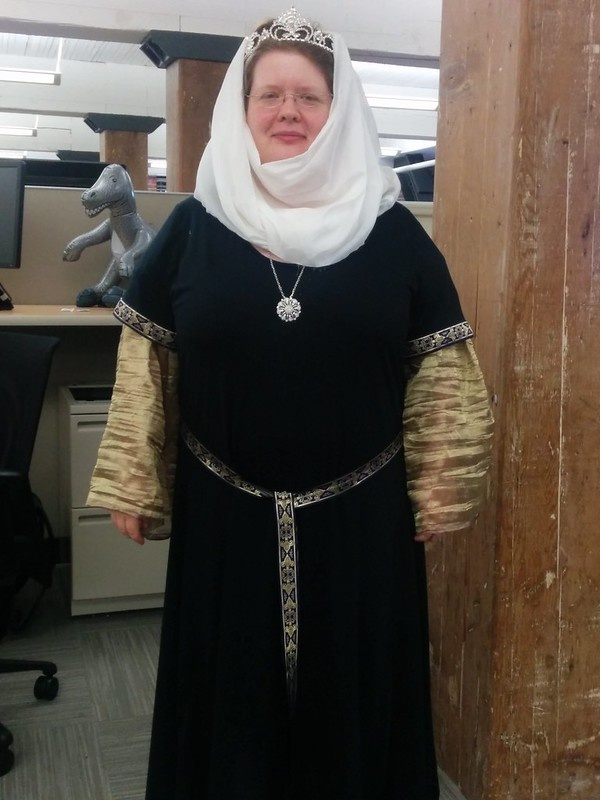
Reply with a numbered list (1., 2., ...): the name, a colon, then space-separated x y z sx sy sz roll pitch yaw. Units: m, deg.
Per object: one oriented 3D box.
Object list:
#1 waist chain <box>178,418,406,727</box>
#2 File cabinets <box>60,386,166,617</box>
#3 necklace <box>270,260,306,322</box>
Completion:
1. waist chain: 0.004 0.212 0.933 0.282 0.344 0.098 -5 3 -11
2. File cabinets: -0.607 0.298 2.385 0.399 0.726 0.453 -1 8 -18
3. necklace: -0.016 -0.135 0.823 0.037 0.004 0.104 -1 -39 3
